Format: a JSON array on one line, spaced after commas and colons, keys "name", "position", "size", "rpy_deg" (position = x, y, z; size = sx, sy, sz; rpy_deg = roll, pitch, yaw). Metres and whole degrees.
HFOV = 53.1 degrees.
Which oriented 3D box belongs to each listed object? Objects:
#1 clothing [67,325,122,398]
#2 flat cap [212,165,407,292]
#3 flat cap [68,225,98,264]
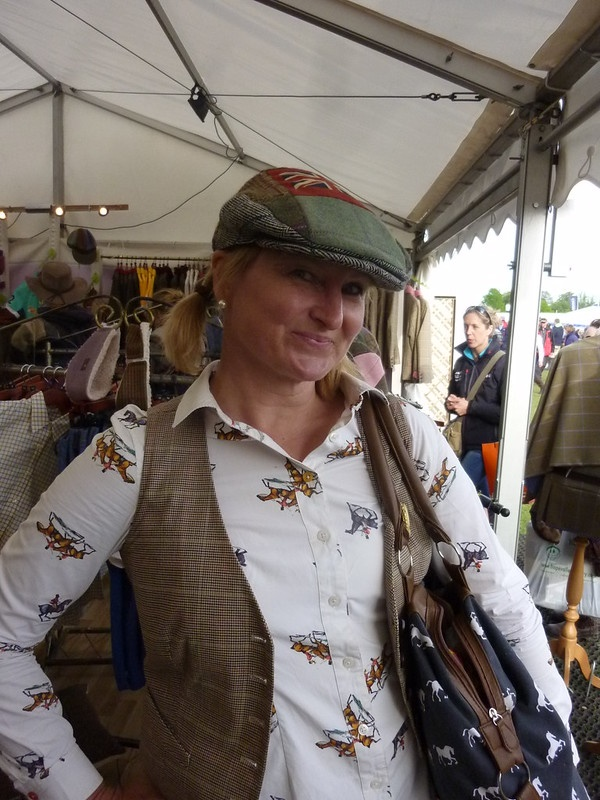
[{"name": "clothing", "position": [-0.624, -0.100, 1.744], "size": [0.071, 0.211, 0.153], "rpy_deg": [37, 33, 19]}, {"name": "flat cap", "position": [0.013, -0.212, 0.837], "size": [0.210, 0.098, 0.175], "rpy_deg": [15, 11, 18]}, {"name": "flat cap", "position": [-2.059, -1.411, 5.629], "size": [0.287, 0.372, 0.181], "rpy_deg": [-11, -10, -12]}]
